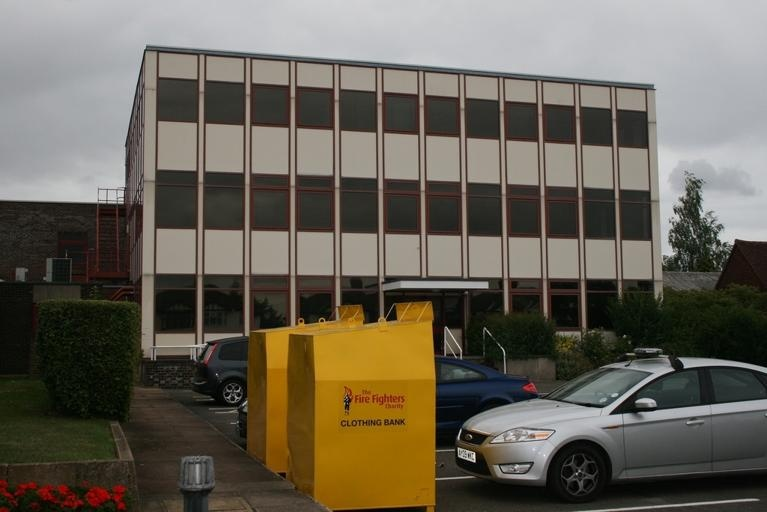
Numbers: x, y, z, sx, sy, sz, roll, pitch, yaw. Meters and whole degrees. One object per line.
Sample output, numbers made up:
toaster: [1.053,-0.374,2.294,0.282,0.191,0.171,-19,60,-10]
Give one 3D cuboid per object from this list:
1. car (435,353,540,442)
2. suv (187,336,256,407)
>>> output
car: [2.388,3.339,20.195,2.471,1.309,1.476,2,-9,-10]
suv: [-5.045,3.512,26.371,2.352,1.414,1.434,-1,-1,-18]
